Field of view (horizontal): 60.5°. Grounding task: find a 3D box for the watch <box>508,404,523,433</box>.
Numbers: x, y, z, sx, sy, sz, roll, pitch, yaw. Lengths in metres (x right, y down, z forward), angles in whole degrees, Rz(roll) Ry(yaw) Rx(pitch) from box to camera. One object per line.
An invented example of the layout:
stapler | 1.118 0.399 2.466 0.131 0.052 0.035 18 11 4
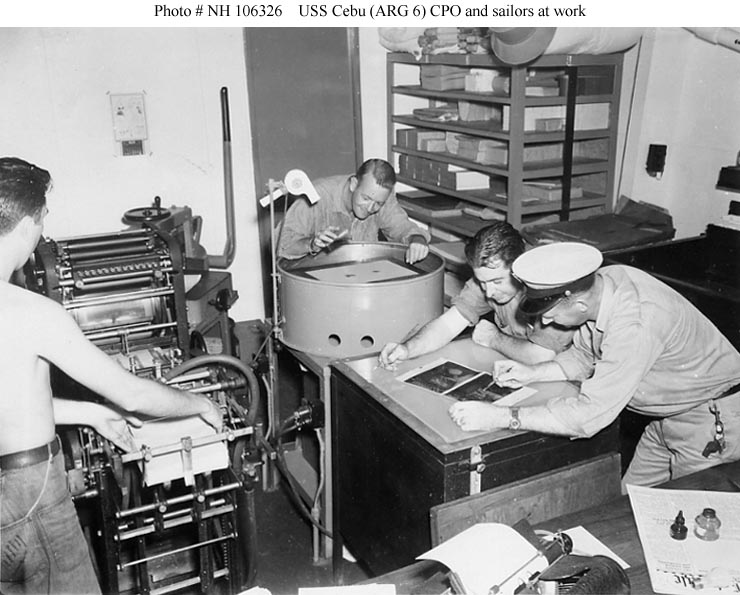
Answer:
watch | 0.470 0.392 2.037 0.037 0.059 0.059 -1 19 10

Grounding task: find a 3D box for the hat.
hat | 0.620 -0.034 2.051 0.263 0.108 0.234 -40 40 -8

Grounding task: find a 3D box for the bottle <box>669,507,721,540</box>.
bottle | 0.908 0.637 1.780 0.123 0.086 0.079 -9 24 5

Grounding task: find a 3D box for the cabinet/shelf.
cabinet/shelf | 0.763 -0.652 3.376 0.659 1.318 1.246 -12 23 -24
